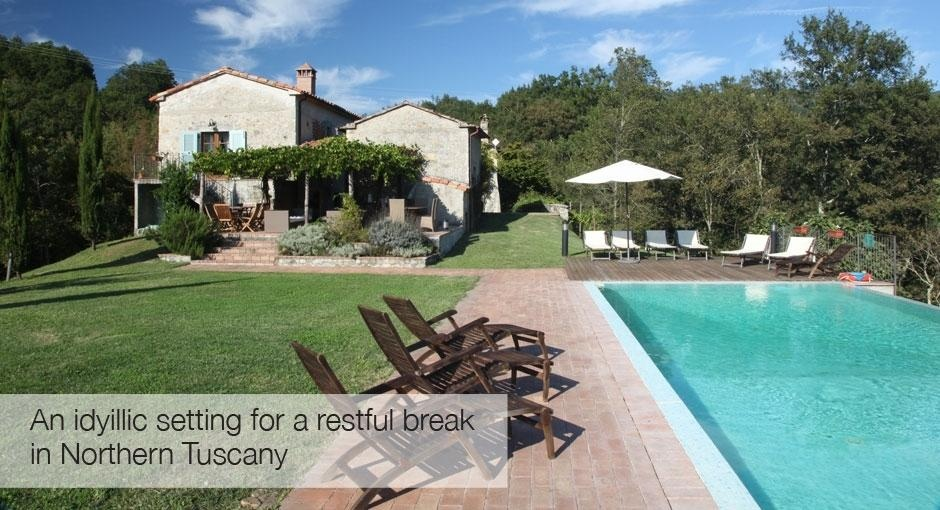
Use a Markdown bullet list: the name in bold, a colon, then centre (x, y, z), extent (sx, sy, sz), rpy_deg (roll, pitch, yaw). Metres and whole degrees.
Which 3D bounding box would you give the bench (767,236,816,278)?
- **bench**: centre (13.489, 0.055, 24.143), extent (2.536, 1.487, 1.301), rpy_deg (-13, 11, -39)

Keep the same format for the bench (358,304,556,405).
- **bench**: centre (-0.346, 2.491, 15.317), extent (4.689, 2.793, 2.432), rpy_deg (-4, 5, -23)

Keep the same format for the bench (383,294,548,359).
- **bench**: centre (-0.131, 1.984, 15.704), extent (3.778, 2.074, 2.089), rpy_deg (-7, 5, -22)

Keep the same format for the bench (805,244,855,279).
- **bench**: centre (14.381, 0.308, 23.205), extent (1.789, 1.083, 1.509), rpy_deg (-7, 4, -9)

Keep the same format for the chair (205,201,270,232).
- **chair**: centre (-12.444, -1.963, 30.723), extent (2.675, 1.458, 1.531), rpy_deg (-3, 6, -23)

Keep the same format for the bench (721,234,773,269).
- **bench**: centre (12.823, -0.086, 25.821), extent (1.442, 0.766, 0.866), rpy_deg (-13, -13, 15)
